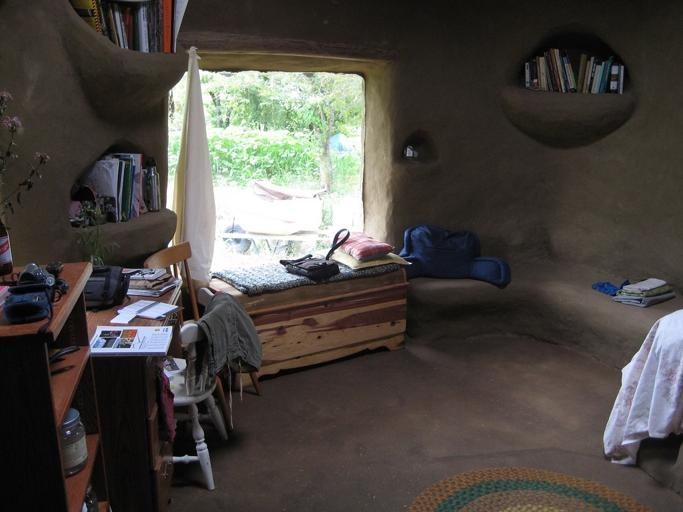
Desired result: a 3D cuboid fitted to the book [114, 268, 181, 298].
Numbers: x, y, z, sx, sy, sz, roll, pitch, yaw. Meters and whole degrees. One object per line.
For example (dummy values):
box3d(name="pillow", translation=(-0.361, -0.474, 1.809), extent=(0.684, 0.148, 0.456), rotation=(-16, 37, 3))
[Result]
box3d(name="book", translation=(-1.099, 0.151, 2.881), extent=(0.202, 0.054, 0.204), rotation=(4, 14, 10))

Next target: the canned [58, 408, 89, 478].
box3d(name="canned", translation=(-1.039, 0.716, 1.894), extent=(0.125, 0.202, 0.129), rotation=(-4, -2, -4))

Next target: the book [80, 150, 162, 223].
box3d(name="book", translation=(-1.481, -0.475, 3.438), extent=(0.500, 0.450, 0.250), rotation=(-6, 12, -27))

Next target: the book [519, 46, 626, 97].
box3d(name="book", translation=(1.976, -1.582, 4.363), extent=(0.647, 0.217, 0.496), rotation=(5, 16, 3))

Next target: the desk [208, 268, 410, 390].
box3d(name="desk", translation=(-0.098, 0.500, 3.936), extent=(1.277, 0.642, 0.898), rotation=(-8, 12, -35))

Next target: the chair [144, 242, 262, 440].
box3d(name="chair", translation=(-0.941, 0.510, 3.800), extent=(0.696, 1.176, 0.624), rotation=(-2, 2, -19))

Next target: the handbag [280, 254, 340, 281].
box3d(name="handbag", translation=(-0.255, 0.092, 4.007), extent=(0.353, 0.146, 0.382), rotation=(-7, 12, -30))
